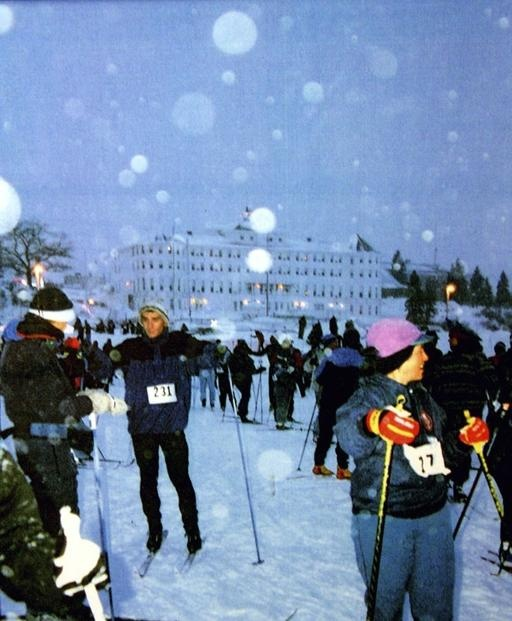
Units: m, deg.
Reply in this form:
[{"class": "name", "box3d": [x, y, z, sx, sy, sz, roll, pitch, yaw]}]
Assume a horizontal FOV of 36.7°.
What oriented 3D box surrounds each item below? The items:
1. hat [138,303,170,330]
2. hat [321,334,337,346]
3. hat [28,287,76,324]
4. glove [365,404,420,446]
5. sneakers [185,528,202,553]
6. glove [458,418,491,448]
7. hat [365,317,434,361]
[{"class": "hat", "box3d": [-0.884, 0.052, 6.614, 0.154, 0.234, 0.245, -2, 17, -1]}, {"class": "hat", "box3d": [0.956, 0.403, 9.966, 0.131, 0.123, 0.123, 2, -6, -45]}, {"class": "hat", "box3d": [-1.498, -0.019, 5.642, 0.329, 0.276, 0.348, 1, 3, -21]}, {"class": "glove", "box3d": [0.806, 0.675, 4.555, 0.235, 0.228, 0.122, 12, 44, 32]}, {"class": "sneakers", "box3d": [-0.543, 2.020, 6.680, 0.093, 0.211, 0.189, -1, -19, 0]}, {"class": "glove", "box3d": [1.498, 0.847, 5.313, 0.189, 0.231, 0.235, 3, 3, 17]}, {"class": "hat", "box3d": [0.883, 0.157, 4.909, 0.301, 0.198, 0.252, -27, 16, -3]}]
